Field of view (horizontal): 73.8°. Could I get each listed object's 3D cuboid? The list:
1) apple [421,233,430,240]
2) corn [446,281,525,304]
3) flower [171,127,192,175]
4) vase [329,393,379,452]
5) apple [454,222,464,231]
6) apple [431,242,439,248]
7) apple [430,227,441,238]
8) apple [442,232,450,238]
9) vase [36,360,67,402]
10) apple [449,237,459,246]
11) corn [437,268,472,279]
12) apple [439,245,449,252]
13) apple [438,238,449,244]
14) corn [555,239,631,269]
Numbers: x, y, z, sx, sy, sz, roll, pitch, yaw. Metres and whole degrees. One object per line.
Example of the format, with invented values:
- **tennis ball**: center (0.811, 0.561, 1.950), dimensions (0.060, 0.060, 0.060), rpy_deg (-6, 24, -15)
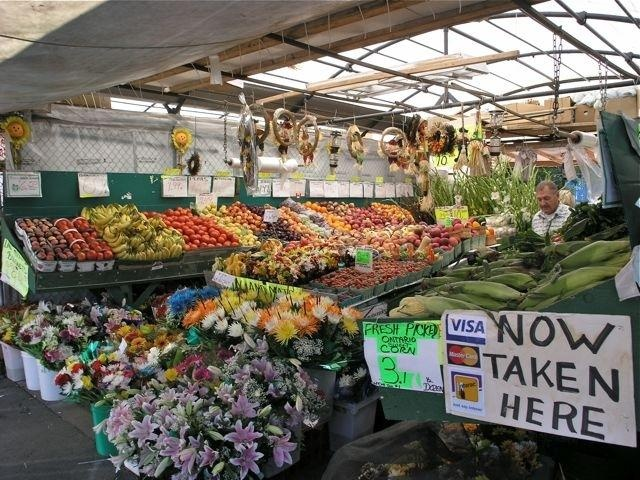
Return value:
- **apple**: center (1.048, -0.032, 4.234), dimensions (0.076, 0.070, 0.069), rpy_deg (7, -5, 18)
- **corn**: center (0.734, 0.207, 1.855), dimensions (0.267, 0.057, 0.205), rpy_deg (9, 11, 43)
- **flower**: center (-2.038, -1.371, 6.367), dimensions (0.333, 0.613, 0.207), rpy_deg (-6, 6, -22)
- **vase**: center (0.248, 1.161, 2.747), dimensions (0.371, 0.347, 0.174), rpy_deg (-8, 7, -38)
- **apple**: center (1.448, -0.150, 4.455), dimensions (0.090, 0.066, 0.121), rpy_deg (0, 7, 27)
- **apple**: center (1.129, 0.046, 4.157), dimensions (0.065, 0.053, 0.053), rpy_deg (17, -24, 33)
- **apple**: center (1.176, -0.070, 4.363), dimensions (0.096, 0.066, 0.092), rpy_deg (-27, -4, -17)
- **apple**: center (1.259, -0.054, 4.279), dimensions (0.055, 0.051, 0.055), rpy_deg (10, 2, -40)
- **vase**: center (-2.356, 1.282, 3.783), dimensions (0.233, 0.347, 0.223), rpy_deg (-13, -20, 5)
- **apple**: center (1.337, 0.012, 4.237), dimensions (0.071, 0.081, 0.151), rpy_deg (0, 7, 31)
- **corn**: center (0.794, 0.196, 2.488), dimensions (0.061, 0.039, 0.156), rpy_deg (3, -7, -26)
- **apple**: center (1.181, 0.079, 4.055), dimensions (0.068, 0.028, 0.064), rpy_deg (-8, 16, -24)
- **apple**: center (1.218, 0.011, 4.198), dimensions (0.111, 0.060, 0.036), rpy_deg (-6, 6, -26)
- **corn**: center (1.177, 0.064, 1.840), dimensions (0.265, 0.080, 0.067), rpy_deg (-16, -2, -19)
